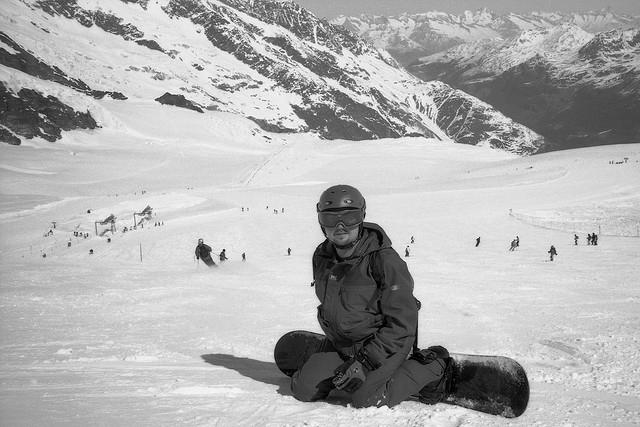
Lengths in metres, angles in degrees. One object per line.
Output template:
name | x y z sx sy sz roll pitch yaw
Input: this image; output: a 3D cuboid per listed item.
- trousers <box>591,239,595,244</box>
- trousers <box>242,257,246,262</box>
trousers | 20.628 2.107 49.089 0.121 0.321 0.393 -6 10 -16
trousers | -5.637 3.404 47.949 0.317 0.280 0.096 -3 -7 12
